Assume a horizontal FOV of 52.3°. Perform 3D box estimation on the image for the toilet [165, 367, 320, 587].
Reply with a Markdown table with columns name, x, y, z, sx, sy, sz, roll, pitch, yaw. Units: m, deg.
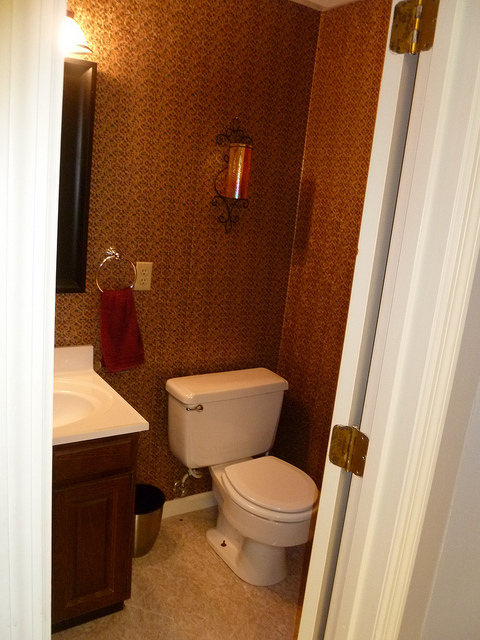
| name | x | y | z | sx | sy | sz | roll | pitch | yaw |
| --- | --- | --- | --- | --- | --- | --- | --- | --- | --- |
| toilet | 0.036 | 0.693 | 2.128 | 0.444 | 0.818 | 0.642 | -7 | 15 | -34 |

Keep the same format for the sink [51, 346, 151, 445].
| name | x | y | z | sx | sy | sz | roll | pitch | yaw |
| --- | --- | --- | --- | --- | --- | --- | --- | --- | --- |
| sink | -0.518 | 0.280 | 1.685 | 0.263 | 0.183 | 0.393 | -4 | 18 | -25 |

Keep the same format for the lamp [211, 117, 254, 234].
| name | x | y | z | sx | sy | sz | roll | pitch | yaw |
| --- | --- | --- | --- | --- | --- | --- | --- | --- | --- |
| lamp | -0.017 | -0.629 | 2.145 | 0.201 | 0.502 | 0.142 | 1 | 9 | -25 |

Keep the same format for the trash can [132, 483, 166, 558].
| name | x | y | z | sx | sy | sz | roll | pitch | yaw |
| --- | --- | --- | --- | --- | --- | --- | --- | --- | --- |
| trash can | -0.391 | 0.863 | 2.087 | 0.121 | 0.306 | 0.397 | 3 | 10 | -11 |

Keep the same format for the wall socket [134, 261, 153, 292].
| name | x | y | z | sx | sy | sz | roll | pitch | yaw |
| --- | --- | --- | --- | --- | --- | --- | --- | --- | --- |
| wall socket | -0.404 | -0.185 | 2.025 | 0.086 | 0.191 | 0.016 | -7 | 14 | -45 |

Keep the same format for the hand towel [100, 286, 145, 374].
| name | x | y | z | sx | sy | sz | roll | pitch | yaw |
| --- | --- | --- | --- | --- | --- | --- | --- | --- | --- |
| hand towel | -0.489 | 0.051 | 2.006 | 0.083 | 0.373 | 0.219 | 11 | 11 | 38 |

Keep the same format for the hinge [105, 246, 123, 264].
| name | x | y | z | sx | sy | sz | roll | pitch | yaw |
| --- | --- | --- | --- | --- | --- | --- | --- | --- | --- |
| hinge | -0.499 | -0.262 | 1.945 | 0.044 | 0.072 | 0.053 | -6 | -18 | 0 |
